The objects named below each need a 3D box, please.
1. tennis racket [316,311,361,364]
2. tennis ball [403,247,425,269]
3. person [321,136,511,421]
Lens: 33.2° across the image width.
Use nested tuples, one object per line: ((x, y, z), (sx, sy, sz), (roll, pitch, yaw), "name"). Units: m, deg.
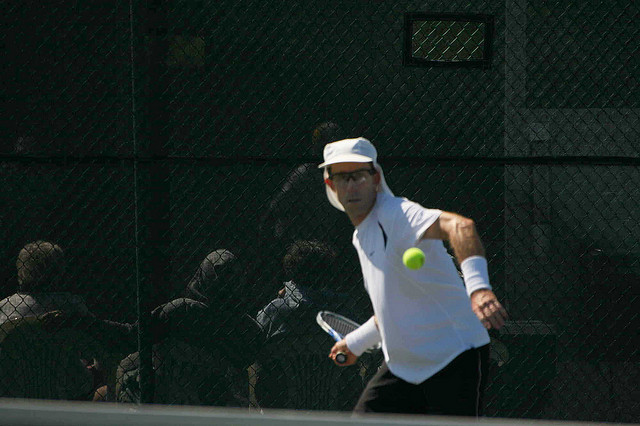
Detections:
((0.161, 0.981, 8.877), (0.357, 0.565, 0.125), (-2, -55, -5), "tennis racket")
((0.698, 0.336, 7.963), (0.159, 0.181, 0.209), (-4, -20, 5), "tennis ball")
((0.734, 0.478, 8.287), (1.226, 2.056, 0.941), (-5, -19, 9), "person")
